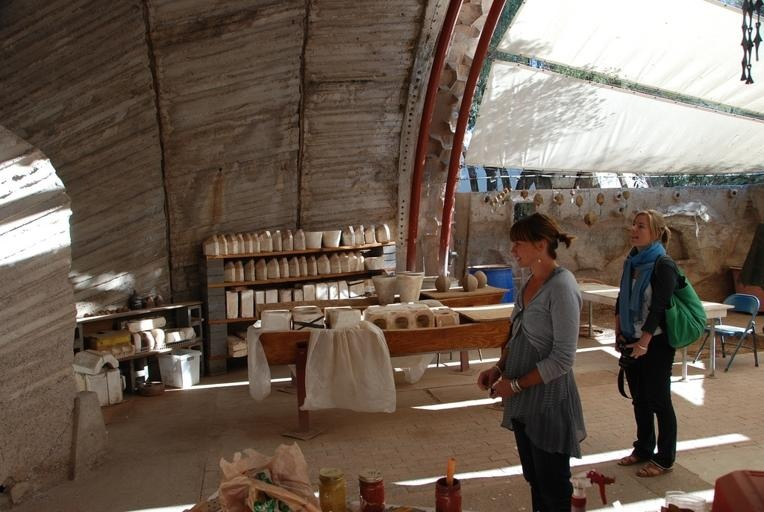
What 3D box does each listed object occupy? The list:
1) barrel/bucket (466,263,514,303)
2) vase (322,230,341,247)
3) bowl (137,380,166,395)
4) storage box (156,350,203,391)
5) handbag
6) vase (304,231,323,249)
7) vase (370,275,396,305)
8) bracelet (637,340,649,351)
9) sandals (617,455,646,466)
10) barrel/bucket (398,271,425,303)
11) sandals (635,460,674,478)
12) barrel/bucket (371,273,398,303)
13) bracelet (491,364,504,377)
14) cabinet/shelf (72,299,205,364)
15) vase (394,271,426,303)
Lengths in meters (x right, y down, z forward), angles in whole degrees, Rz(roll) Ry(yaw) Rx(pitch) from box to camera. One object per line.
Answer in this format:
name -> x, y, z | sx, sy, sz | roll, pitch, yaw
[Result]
barrel/bucket -> 2.068, 0.468, 10.205 | 0.900, 0.787, 0.807 | 1, 1, -2
vase -> -0.816, -0.267, 8.889 | 0.305, 0.182, 0.272 | 0, 2, -5
bowl -> -3.110, 1.774, 7.456 | 0.223, 0.074, 0.200 | 2, 3, 9
storage box -> -2.902, 1.601, 7.910 | 0.501, 0.349, 0.533 | -4, -2, 26
handbag -> 2.717, 0.451, 4.969 | 0.297, 0.713, 0.442 | 4, 13, 32
vase -> -1.118, -0.244, 8.747 | 0.317, 0.201, 0.257 | -1, 2, -13
vase -> 0.035, 0.438, 7.275 | 0.397, 0.334, 0.361 | -2, 5, -17
bracelet -> 2.266, 0.778, 4.813 | 0.092, 0.055, 0.082 | -2, 1, 1
sandals -> 2.367, 1.941, 5.299 | 0.289, 0.057, 0.092 | 0, 2, -6
barrel/bucket -> 0.338, 0.415, 7.263 | 0.467, 0.379, 0.430 | -2, 7, 0
sandals -> 2.543, 1.959, 5.137 | 0.380, 0.121, 0.127 | 1, -1, -5
barrel/bucket -> 0.040, 0.420, 7.276 | 0.383, 0.331, 0.359 | 0, 5, 0
bracelet -> 0.836, 0.831, 4.050 | 0.074, 0.074, 0.072 | 3, -17, -28
cabinet/shelf -> -3.402, 1.034, 7.772 | 1.730, 0.648, 0.724 | -10, 12, -41
vase -> 0.310, 0.433, 7.231 | 0.458, 0.362, 0.413 | -3, -4, 19
